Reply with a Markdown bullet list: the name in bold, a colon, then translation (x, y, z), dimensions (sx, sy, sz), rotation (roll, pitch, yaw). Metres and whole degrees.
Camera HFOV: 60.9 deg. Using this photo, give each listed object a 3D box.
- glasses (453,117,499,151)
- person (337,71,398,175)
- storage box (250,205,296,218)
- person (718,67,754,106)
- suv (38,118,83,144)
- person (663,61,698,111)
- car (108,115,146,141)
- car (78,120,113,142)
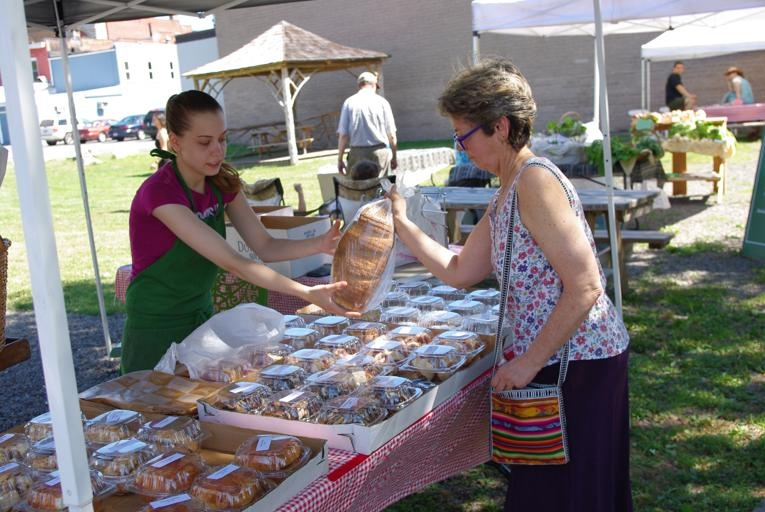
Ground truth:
- **glasses**: translation (0.371, -0.500, 2.638), dimensions (0.120, 0.035, 0.117), rotation (-26, -2, 1)
- **person**: translation (-0.213, -1.326, 8.887), dimensions (0.816, 2.249, 0.671), rotation (1, 16, 3)
- **storage box**: translation (-0.938, -0.383, 5.573), dimensions (0.203, 0.123, 0.201), rotation (0, 1, 1)
- **person**: translation (8.634, -4.138, 15.763), dimensions (0.564, 0.905, 0.834), rotation (-1, 11, 19)
- **suv**: translation (-17.329, -6.597, 34.529), dimensions (1.355, 1.423, 2.697), rotation (-10, 12, -27)
- **person**: translation (6.955, -4.009, 15.257), dimensions (0.595, 1.143, 1.787), rotation (0, 11, 24)
- **car**: translation (-13.577, -6.939, 34.708), dimensions (1.123, 0.861, 1.877), rotation (1, 7, 19)
- **car**: translation (-15.437, -6.709, 34.915), dimensions (1.568, 1.184, 1.822), rotation (-10, 12, -28)
